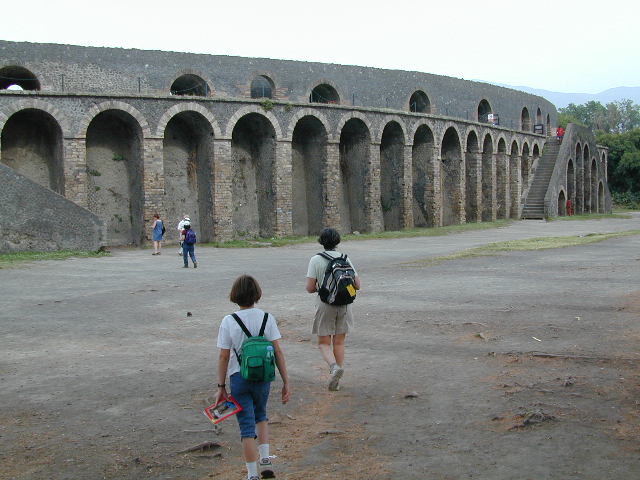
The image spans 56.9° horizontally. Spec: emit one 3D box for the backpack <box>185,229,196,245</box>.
[{"bbox_3d":[-3.440,-0.068,15.768,0.284,0.376,0.363,3,-5,-33],"label":"backpack"}]

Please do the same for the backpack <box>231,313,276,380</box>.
[{"bbox_3d":[-0.495,0.804,4.361,0.283,0.513,0.292,-4,3,-10],"label":"backpack"}]

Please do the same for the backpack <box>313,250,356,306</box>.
[{"bbox_3d":[0.176,0.423,6.047,0.380,0.517,0.527,-2,4,-32],"label":"backpack"}]

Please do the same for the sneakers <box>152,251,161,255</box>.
[{"bbox_3d":[-5.720,0.462,20.496,0.306,0.121,0.144,3,1,9],"label":"sneakers"}]

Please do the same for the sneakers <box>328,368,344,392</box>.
[{"bbox_3d":[0.162,1.394,5.997,0.115,0.297,0.135,7,16,-18],"label":"sneakers"}]
